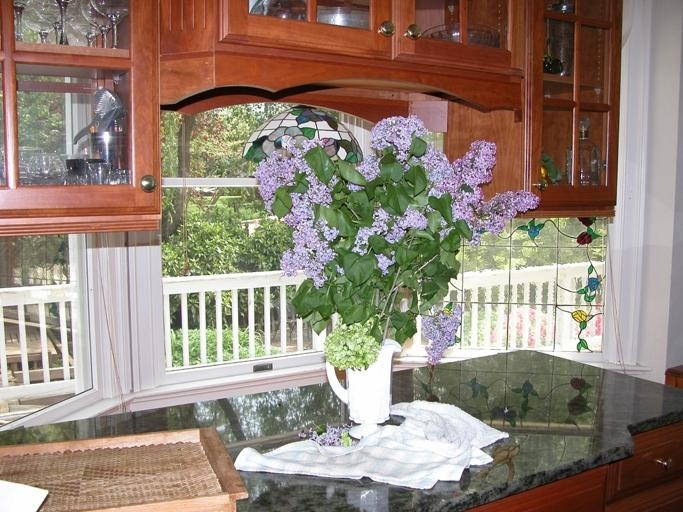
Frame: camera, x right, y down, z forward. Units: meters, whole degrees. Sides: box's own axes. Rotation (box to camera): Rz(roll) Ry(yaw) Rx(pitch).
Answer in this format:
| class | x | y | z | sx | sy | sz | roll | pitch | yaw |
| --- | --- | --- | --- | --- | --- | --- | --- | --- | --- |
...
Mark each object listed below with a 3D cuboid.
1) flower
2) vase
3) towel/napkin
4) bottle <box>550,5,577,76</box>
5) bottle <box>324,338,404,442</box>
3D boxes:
| class | x | y | z | sx | sy | sz | roll | pitch | yaw |
| --- | --- | --- | --- | --- | --- | --- | --- | --- | --- |
| flower | 0.139 | -0.041 | 1.946 | 0.894 | 0.758 | 0.606 | -1 | 6 | -28 |
| vase | 0.067 | 0.371 | 1.995 | 0.285 | 0.315 | 0.176 | -2 | 8 | -9 |
| towel/napkin | 0.126 | 0.546 | 1.815 | 0.766 | 0.090 | 0.413 | -4 | 9 | -34 |
| bottle | 0.855 | -0.848 | 2.492 | 0.140 | 0.290 | 0.035 | -5 | 9 | -39 |
| bottle | 0.075 | 0.398 | 1.962 | 0.311 | 0.337 | 0.190 | -1 | 7 | -9 |
